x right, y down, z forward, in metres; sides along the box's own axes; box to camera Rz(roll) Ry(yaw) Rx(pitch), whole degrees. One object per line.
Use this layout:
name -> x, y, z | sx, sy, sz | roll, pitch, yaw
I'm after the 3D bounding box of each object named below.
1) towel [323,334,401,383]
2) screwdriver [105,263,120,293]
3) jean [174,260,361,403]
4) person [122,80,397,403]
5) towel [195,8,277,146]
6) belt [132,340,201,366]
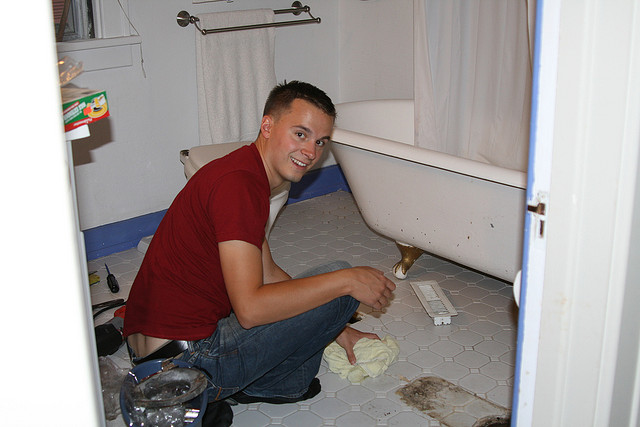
towel -> 0.182, 0.527, 1.876 | 0.253, 0.079, 0.222 | -19, 38, -26
screwdriver -> -1.080, 0.356, 2.422 | 0.038, 0.039, 0.129 | -10, 37, -33
jean -> -0.168, 0.510, 1.598 | 0.597, 0.457, 0.229 | -14, 23, -26
person -> -0.201, 0.200, 1.516 | 0.856, 1.146, 0.456 | -14, 22, -25
towel -> -0.513, -0.812, 2.952 | 0.584, 0.693, 0.137 | -20, 26, -37
belt -> -0.497, 0.425, 1.454 | 0.118, 0.035, 0.087 | -28, 6, -14
